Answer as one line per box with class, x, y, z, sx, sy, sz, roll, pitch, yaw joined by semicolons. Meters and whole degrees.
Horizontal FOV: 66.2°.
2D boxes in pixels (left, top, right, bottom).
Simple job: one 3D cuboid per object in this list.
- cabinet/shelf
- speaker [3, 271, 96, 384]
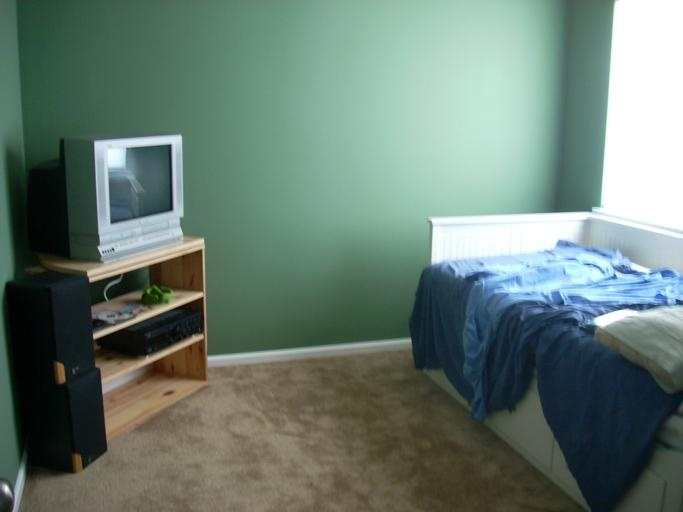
cabinet/shelf;-1.279;0.468;2.932;0.391;0.933;0.960;7;13;34
speaker;-1.474;0.369;2.648;0.366;0.500;0.208;-2;16;-1
